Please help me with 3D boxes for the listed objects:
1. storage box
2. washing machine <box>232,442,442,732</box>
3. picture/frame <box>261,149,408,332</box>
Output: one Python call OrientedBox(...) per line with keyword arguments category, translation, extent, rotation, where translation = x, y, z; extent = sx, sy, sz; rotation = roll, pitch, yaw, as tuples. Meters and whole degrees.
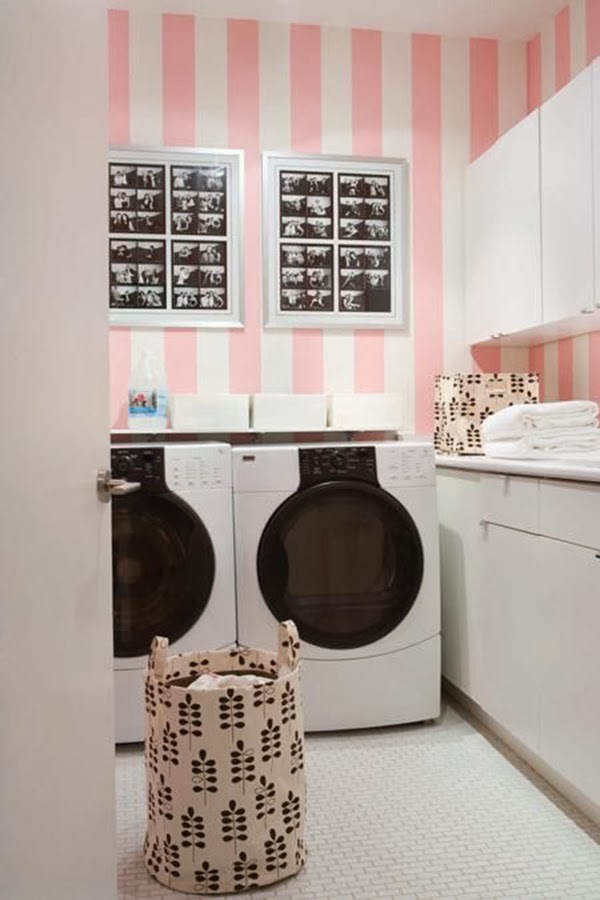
OrientedBox(category="storage box", translation=(0.654, -0.150, 2.548), extent=(0.318, 0.388, 0.258), rotation=(0, 0, -15))
OrientedBox(category="washing machine", translation=(0.116, 0.347, 2.380), extent=(0.670, 1.153, 0.692), rotation=(0, -1, -12))
OrientedBox(category="picture/frame", translation=(0.106, -0.791, 2.682), extent=(0.576, 0.734, 0.049), rotation=(0, -1, -17))
